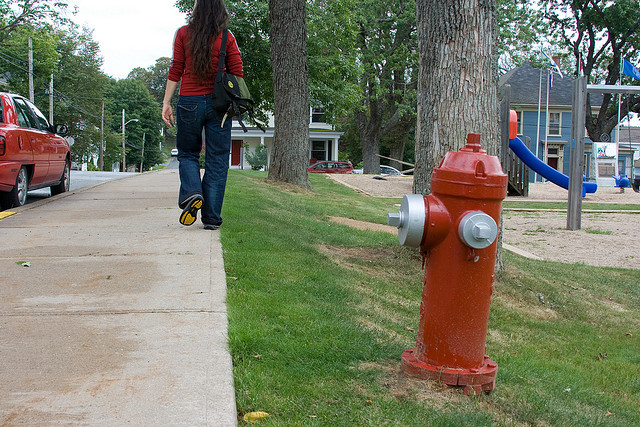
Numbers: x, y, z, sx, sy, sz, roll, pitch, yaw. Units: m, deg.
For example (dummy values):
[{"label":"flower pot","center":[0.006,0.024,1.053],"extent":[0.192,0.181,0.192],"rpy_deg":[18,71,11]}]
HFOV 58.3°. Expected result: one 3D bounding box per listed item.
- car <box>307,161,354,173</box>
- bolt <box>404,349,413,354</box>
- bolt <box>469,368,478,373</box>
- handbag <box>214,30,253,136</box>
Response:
[{"label":"car","center":[0.881,-3.323,40.672],"extent":[2.759,0.858,1.428],"rpy_deg":[2,2,-14]},{"label":"bolt","center":[0.670,1.025,4.324],"extent":[0.062,0.016,0.060],"rpy_deg":[2,-1,8]},{"label":"bolt","center":[1.099,1.106,4.075],"extent":[0.063,0.011,0.031],"rpy_deg":[5,10,-20]},{"label":"handbag","center":[-0.989,-1.512,6.640],"extent":[0.471,1.101,0.667],"rpy_deg":[9,10,-8]}]
